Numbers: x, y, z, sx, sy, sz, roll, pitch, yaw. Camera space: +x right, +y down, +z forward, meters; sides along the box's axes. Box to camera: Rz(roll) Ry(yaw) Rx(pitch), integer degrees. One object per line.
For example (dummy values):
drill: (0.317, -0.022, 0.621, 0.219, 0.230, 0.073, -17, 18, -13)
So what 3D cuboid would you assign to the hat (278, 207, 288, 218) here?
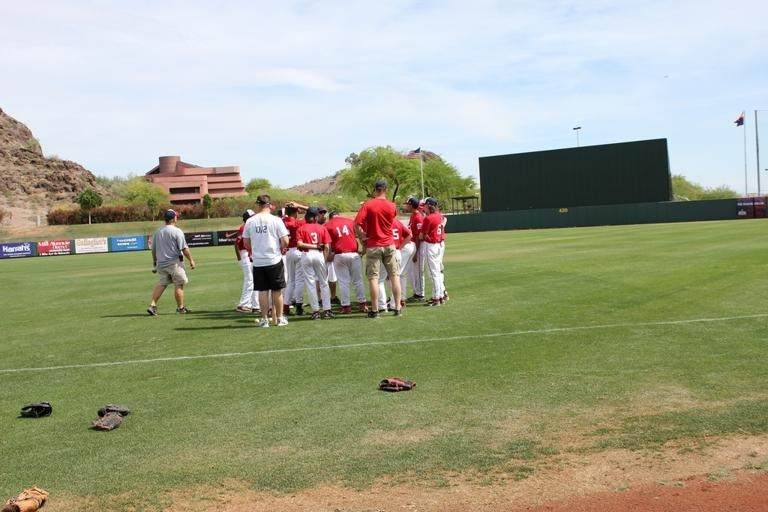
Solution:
hat: (-1.992, -0.870, 13.786, 0.211, 0.265, 0.126, 3, -14, 1)

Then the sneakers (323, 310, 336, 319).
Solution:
sneakers: (-0.992, 1.049, 12.666, 0.099, 0.123, 0.284, 1, 1, 8)

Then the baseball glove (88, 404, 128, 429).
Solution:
baseball glove: (-3.083, 1.799, 7.793, 0.344, 0.168, 0.384, -2, 11, 3)

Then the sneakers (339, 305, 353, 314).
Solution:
sneakers: (-0.691, 1.008, 13.069, 0.193, 0.171, 0.113, 4, -5, -2)

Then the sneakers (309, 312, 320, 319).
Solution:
sneakers: (-1.242, 1.092, 12.746, 0.207, 0.130, 0.099, 3, -2, 1)

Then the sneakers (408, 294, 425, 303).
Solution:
sneakers: (0.667, 0.888, 14.273, 0.365, 0.157, 0.140, 0, -2, 13)

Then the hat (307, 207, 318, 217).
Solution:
hat: (-1.323, -0.843, 12.902, 0.134, 0.183, 0.191, 22, 1, 6)

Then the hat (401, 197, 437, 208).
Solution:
hat: (0.676, -1.125, 13.739, 0.759, 0.213, 0.458, 0, 0, 7)

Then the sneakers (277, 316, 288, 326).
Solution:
sneakers: (-1.735, 1.123, 12.056, 0.087, 0.094, 0.234, 1, 4, 15)

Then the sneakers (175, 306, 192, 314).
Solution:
sneakers: (-3.908, 1.063, 13.765, 0.130, 0.158, 0.371, 3, 3, 30)

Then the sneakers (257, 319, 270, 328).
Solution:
sneakers: (-2.057, 1.147, 11.969, 0.093, 0.104, 0.242, 2, 0, -38)

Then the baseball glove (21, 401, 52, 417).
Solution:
baseball glove: (-3.969, 1.755, 7.960, 0.193, 0.103, 0.245, 1, -4, 10)

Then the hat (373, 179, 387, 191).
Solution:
hat: (-0.044, -1.276, 12.386, 0.264, 0.184, 0.408, 8, -4, 0)

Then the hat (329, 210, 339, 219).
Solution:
hat: (-0.950, -0.804, 13.494, 0.157, 0.102, 0.238, -2, -1, -14)

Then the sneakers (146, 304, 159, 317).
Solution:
sneakers: (-4.514, 1.069, 13.645, 0.146, 0.156, 0.354, 9, -6, -1)

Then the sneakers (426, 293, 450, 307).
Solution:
sneakers: (1.074, 0.851, 13.449, 0.477, 0.194, 0.167, -2, 1, -6)

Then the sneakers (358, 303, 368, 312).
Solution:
sneakers: (-0.356, 0.959, 13.017, 0.127, 0.183, 0.191, -1, -12, 3)

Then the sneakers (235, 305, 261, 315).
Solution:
sneakers: (-2.673, 1.066, 13.776, 0.531, 0.207, 0.173, 0, -1, 0)
